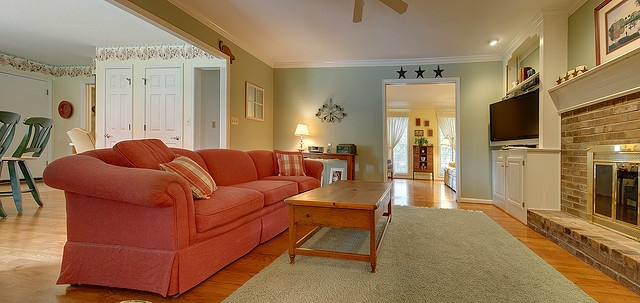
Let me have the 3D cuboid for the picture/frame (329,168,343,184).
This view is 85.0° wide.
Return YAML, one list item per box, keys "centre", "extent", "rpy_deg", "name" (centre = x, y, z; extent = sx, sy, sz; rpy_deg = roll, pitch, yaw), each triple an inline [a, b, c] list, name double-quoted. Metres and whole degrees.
- centre: [0.464, 0.677, 9.716]
  extent: [0.544, 0.582, 0.070]
  rpy_deg: [1, -4, 9]
  name: "picture/frame"

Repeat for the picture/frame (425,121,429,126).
- centre: [4.353, -1.125, 14.147]
  extent: [0.172, 0.204, 0.043]
  rpy_deg: [1, 4, -1]
  name: "picture/frame"

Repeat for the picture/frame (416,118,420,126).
- centre: [4.034, -1.205, 14.190]
  extent: [0.180, 0.306, 0.055]
  rpy_deg: [2, 4, 12]
  name: "picture/frame"

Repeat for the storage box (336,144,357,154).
- centre: [0.787, -0.075, 9.811]
  extent: [0.600, 0.251, 0.297]
  rpy_deg: [0, 3, -6]
  name: "storage box"

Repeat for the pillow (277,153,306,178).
- centre: [-0.711, 0.352, 8.336]
  extent: [0.705, 0.502, 0.189]
  rpy_deg: [-3, -10, -4]
  name: "pillow"

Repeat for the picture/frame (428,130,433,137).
- centre: [4.487, -0.756, 14.123]
  extent: [0.200, 0.279, 0.039]
  rpy_deg: [1, 4, -1]
  name: "picture/frame"

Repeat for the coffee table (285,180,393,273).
- centre: [0.430, 1.123, 6.798]
  extent: [1.700, 0.879, 2.642]
  rpy_deg: [0, 2, 18]
  name: "coffee table"

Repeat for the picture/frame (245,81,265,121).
- centre: [-1.800, -1.360, 9.574]
  extent: [0.154, 1.011, 0.783]
  rpy_deg: [2, 4, 19]
  name: "picture/frame"

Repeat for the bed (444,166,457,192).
- centre: [4.179, 0.896, 11.101]
  extent: [0.323, 0.388, 0.923]
  rpy_deg: [-1, 0, 15]
  name: "bed"

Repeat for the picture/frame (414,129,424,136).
- centre: [4.058, -0.772, 14.183]
  extent: [0.354, 0.195, 0.024]
  rpy_deg: [0, -2, 6]
  name: "picture/frame"

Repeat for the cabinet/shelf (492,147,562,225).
- centre: [4.763, 0.793, 7.882]
  extent: [1.066, 1.576, 1.871]
  rpy_deg: [1, -4, 4]
  name: "cabinet/shelf"

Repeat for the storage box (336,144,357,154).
- centre: [0.787, -0.075, 9.811]
  extent: [0.600, 0.251, 0.297]
  rpy_deg: [0, 3, -6]
  name: "storage box"

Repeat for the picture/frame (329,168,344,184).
- centre: [0.473, 0.674, 9.675]
  extent: [0.557, 0.574, 0.066]
  rpy_deg: [1, -4, 8]
  name: "picture/frame"

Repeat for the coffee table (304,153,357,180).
- centre: [0.321, 0.398, 9.505]
  extent: [0.973, 0.710, 0.348]
  rpy_deg: [-1, -2, 16]
  name: "coffee table"
